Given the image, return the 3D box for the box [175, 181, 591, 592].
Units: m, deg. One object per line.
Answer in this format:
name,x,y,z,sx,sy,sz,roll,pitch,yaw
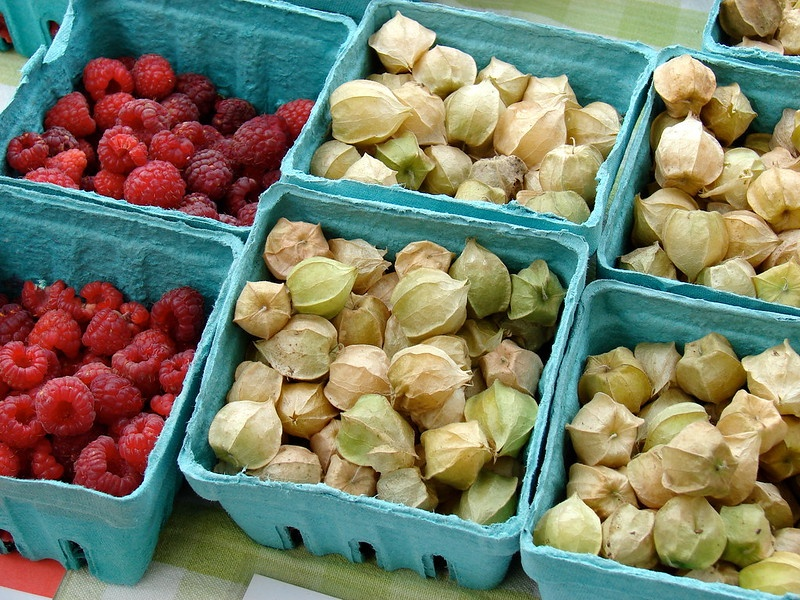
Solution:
box,-0.060,0.247,2.550,1.124,0.741,1.255,16,78,6
